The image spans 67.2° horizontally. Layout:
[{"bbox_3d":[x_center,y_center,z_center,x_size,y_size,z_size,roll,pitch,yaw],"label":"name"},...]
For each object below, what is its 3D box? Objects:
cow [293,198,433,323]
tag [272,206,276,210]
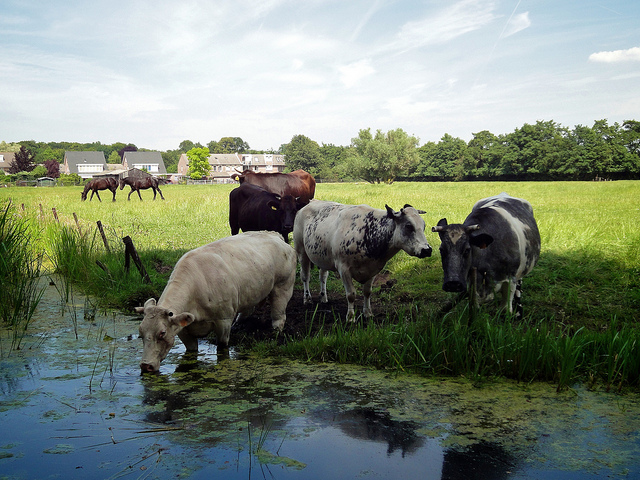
[{"bbox_3d":[0.682,0.436,9.813,1.164,2.287,3.905,-3,6,-34],"label":"cow"},{"bbox_3d":[-1.200,-0.835,12.466,0.055,0.084,0.173,-8,14,-36],"label":"tag"}]
